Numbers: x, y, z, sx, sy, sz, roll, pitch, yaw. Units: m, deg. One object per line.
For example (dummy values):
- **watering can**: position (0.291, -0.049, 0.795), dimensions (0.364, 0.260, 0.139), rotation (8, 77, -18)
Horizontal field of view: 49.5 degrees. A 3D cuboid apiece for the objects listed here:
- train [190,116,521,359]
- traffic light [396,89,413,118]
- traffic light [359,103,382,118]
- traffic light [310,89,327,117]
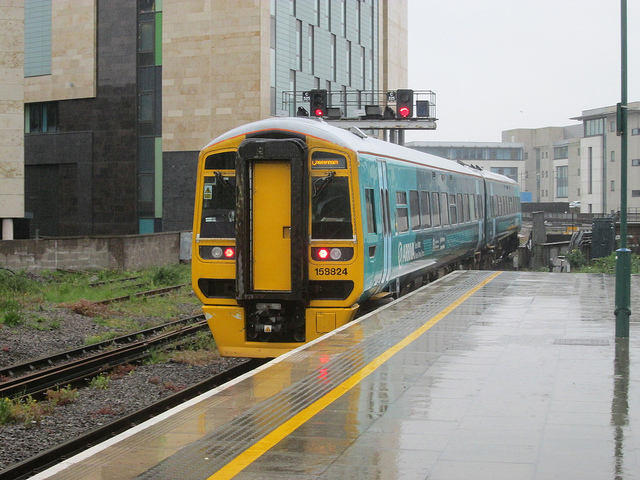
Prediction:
- **train**: position (2.082, -0.586, 18.793), dimensions (3.308, 3.834, 17.072), rotation (-1, 3, 22)
- **traffic light**: position (2.762, -4.492, 22.834), dimensions (0.514, 0.915, 0.634), rotation (-2, 2, 15)
- **traffic light**: position (1.717, -4.416, 23.820), dimensions (0.757, 0.490, 0.800), rotation (-2, 2, -6)
- **traffic light**: position (-0.061, -4.233, 21.521), dimensions (0.468, 0.910, 0.783), rotation (-2, 2, 2)
